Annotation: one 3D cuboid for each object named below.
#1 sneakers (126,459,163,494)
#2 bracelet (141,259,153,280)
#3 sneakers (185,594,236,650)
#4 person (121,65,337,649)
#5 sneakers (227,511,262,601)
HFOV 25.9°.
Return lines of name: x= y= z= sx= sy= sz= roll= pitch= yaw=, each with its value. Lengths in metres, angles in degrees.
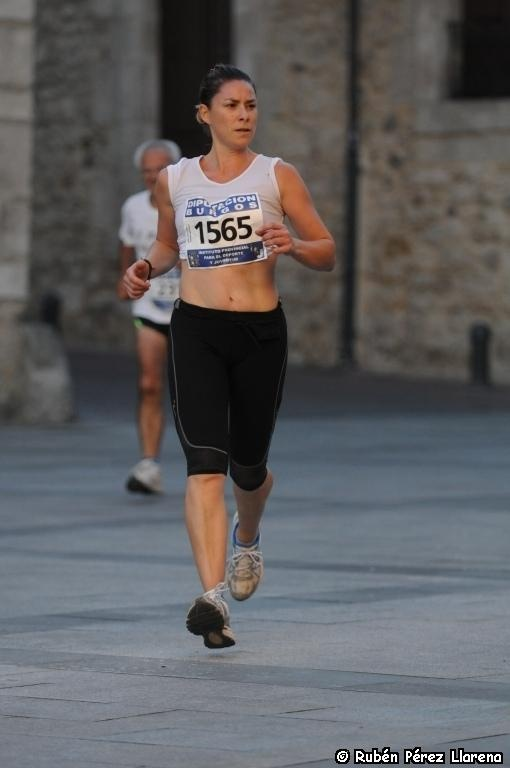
sneakers: x=-0.694 y=0.598 z=7.231 sx=0.175 sy=0.250 sz=0.245 roll=1 pitch=49 yaw=10
bracelet: x=-0.351 y=-0.376 z=3.699 sx=0.040 sy=0.059 sz=0.048 roll=-7 pitch=13 yaw=-29
sneakers: x=-0.115 y=0.650 z=3.060 sx=0.090 sy=0.185 sz=0.094 roll=-5 pitch=49 yaw=10
person: x=-0.133 y=-0.105 z=3.494 sx=0.691 sy=1.829 sz=0.790 roll=2 pitch=6 yaw=18
sneakers: x=-0.041 y=0.602 z=3.889 sx=0.116 sy=0.308 sz=0.128 roll=1 pitch=-22 yaw=-2
